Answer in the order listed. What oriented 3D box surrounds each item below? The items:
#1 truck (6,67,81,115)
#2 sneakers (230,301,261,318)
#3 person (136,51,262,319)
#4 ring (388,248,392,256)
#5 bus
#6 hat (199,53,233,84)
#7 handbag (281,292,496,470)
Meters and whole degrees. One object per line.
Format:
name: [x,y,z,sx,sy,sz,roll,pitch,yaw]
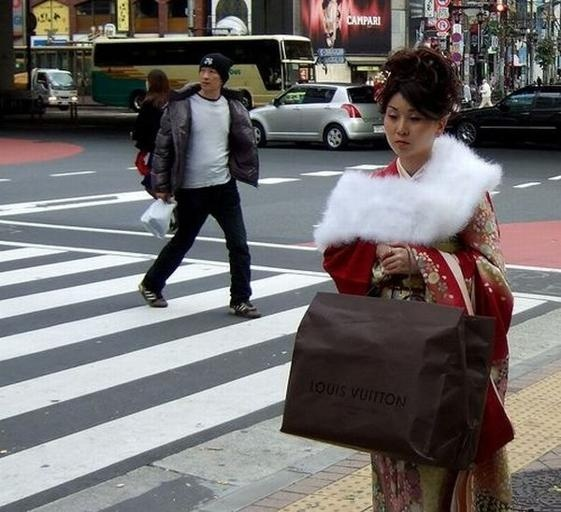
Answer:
truck: [-16.593,-11.511,53.273,5.153,2.419,2.649,11,15,36]
sneakers: [-0.298,0.453,6.593,0.320,0.123,0.116,4,11,35]
person: [-0.691,-0.618,6.535,1.163,2.083,0.728,1,5,7]
ring: [0.318,-0.009,2.186,0.014,0.019,0.005,9,16,40]
bus: [-4.141,-9.292,40.223,12.174,3.592,3.133,6,8,25]
hat: [-0.548,-1.555,6.371,0.249,0.258,0.486,-2,11,-4]
handbag: [0.270,0.313,1.965,0.565,0.412,0.222,-3,-13,45]
